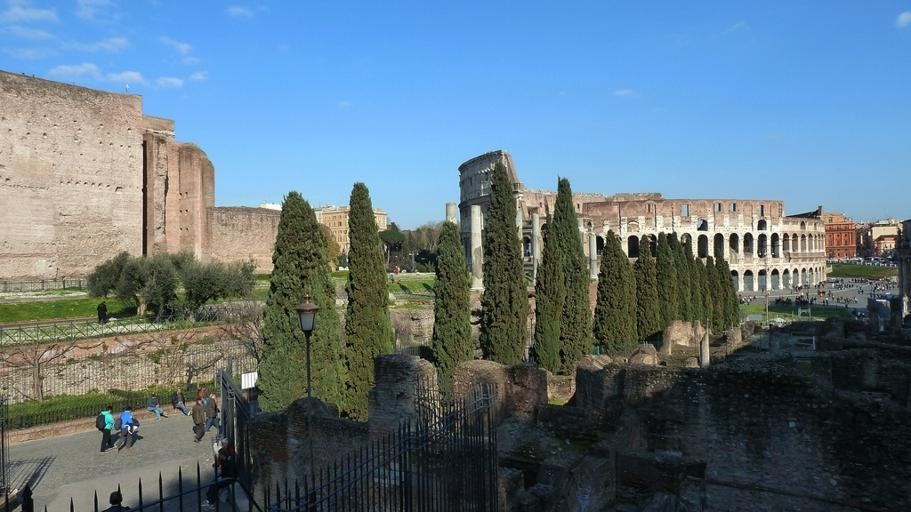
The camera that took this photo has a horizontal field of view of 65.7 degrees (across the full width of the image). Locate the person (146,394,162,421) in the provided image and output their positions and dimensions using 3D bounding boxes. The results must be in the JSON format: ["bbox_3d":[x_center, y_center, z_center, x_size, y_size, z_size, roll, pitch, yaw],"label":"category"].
[{"bbox_3d":[-14.911,7.425,34.891,0.694,1.115,0.543,-3,0,13],"label":"person"}]

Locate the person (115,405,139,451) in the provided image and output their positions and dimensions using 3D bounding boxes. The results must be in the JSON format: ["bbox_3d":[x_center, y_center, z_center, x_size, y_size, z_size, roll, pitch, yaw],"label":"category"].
[{"bbox_3d":[-15.141,7.873,32.397,0.863,1.700,1.129,-3,0,-24],"label":"person"}]

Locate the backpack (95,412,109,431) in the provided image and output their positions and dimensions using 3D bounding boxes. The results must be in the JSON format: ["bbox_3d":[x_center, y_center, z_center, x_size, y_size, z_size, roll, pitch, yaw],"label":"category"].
[{"bbox_3d":[-16.069,7.462,31.889,0.377,0.792,0.594,-2,0,-36],"label":"backpack"}]

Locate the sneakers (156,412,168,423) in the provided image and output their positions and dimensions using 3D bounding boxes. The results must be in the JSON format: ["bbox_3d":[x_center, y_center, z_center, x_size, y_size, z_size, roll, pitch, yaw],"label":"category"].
[{"bbox_3d":[-14.529,7.906,34.799,0.238,0.254,0.652,1,1,6],"label":"sneakers"}]

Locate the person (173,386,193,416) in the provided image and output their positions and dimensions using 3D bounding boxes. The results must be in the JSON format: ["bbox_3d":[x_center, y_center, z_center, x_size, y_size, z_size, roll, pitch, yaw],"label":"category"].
[{"bbox_3d":[-14.125,7.311,36.112,0.781,1.207,2.067,-2,0,-21],"label":"person"}]
